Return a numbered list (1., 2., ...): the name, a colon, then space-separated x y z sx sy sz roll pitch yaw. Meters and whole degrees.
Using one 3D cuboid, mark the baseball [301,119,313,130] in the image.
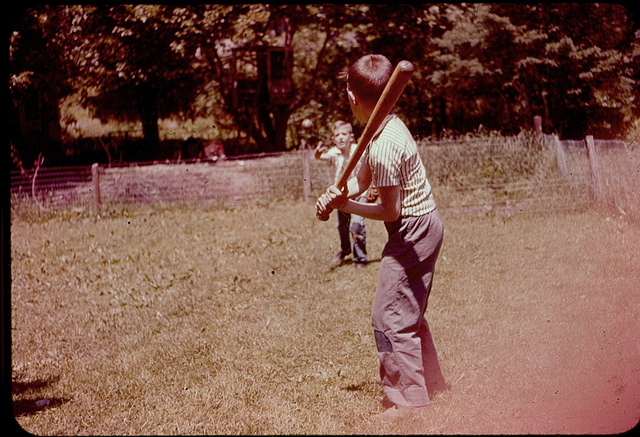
1. baseball: -0.295 -2.072 21.088 0.187 0.154 0.218 -1 -1 -2
